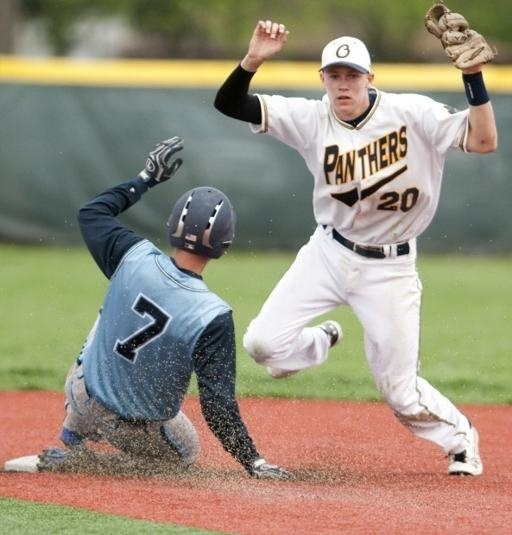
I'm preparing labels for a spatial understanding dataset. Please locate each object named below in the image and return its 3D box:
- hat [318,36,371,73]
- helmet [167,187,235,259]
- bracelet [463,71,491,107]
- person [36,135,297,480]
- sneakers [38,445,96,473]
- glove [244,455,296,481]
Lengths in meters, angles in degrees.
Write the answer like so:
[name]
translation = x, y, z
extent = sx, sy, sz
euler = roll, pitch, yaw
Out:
[hat]
translation = 0.398, -0.943, 4.116
extent = 0.216, 0.177, 0.233
euler = 1, 6, 4
[helmet]
translation = -0.208, -0.168, 3.834
extent = 0.250, 0.249, 0.298
euler = 13, 55, 5
[bracelet]
translation = 0.888, -0.721, 3.751
extent = 0.105, 0.137, 0.095
euler = 0, 6, -5
[person]
translation = -0.367, 0.262, 3.873
extent = 0.790, 1.258, 0.586
euler = 6, 8, 35
[sneakers]
translation = -0.807, 0.809, 3.956
extent = 0.203, 0.086, 0.114
euler = 1, 68, -3
[glove]
translation = 0.058, 0.860, 3.938
extent = 0.163, 0.051, 0.101
euler = 28, 15, 1
